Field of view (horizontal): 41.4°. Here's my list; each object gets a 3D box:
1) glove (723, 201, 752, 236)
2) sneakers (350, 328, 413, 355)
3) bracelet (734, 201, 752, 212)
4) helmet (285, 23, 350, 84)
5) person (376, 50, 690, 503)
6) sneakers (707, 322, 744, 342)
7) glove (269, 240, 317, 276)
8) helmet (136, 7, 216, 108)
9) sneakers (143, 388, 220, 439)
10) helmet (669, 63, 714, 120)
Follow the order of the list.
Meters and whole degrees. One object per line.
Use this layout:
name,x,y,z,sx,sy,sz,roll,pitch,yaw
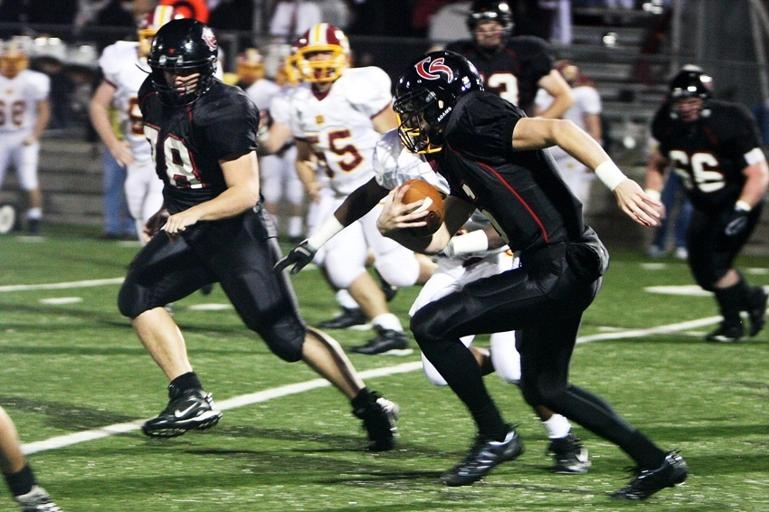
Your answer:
glove,2.275,-0.240,6.593,0.071,0.234,0.183,43,20,1
sneakers,0.007,0.525,6.178,0.493,0.153,0.132,1,-2,-4
bracelet,2.295,-0.322,6.574,0.101,0.029,0.076,-1,25,-41
helmet,-0.344,-1.275,6.428,0.409,0.282,0.437,-6,14,13
person,0.596,0.066,4.152,1.308,1.775,0.524,5,15,18
sneakers,2.226,0.489,6.672,0.249,0.144,0.140,3,13,10
glove,-0.389,0.010,4.581,0.214,0.117,0.061,-37,3,15
helmet,-0.933,-0.904,4.732,0.314,0.397,0.257,-1,13,-9
sneakers,-0.920,0.729,4.643,0.384,0.096,0.222,-12,38,-15
helmet,2.123,-1.092,6.773,0.360,0.299,0.416,-2,6,16
